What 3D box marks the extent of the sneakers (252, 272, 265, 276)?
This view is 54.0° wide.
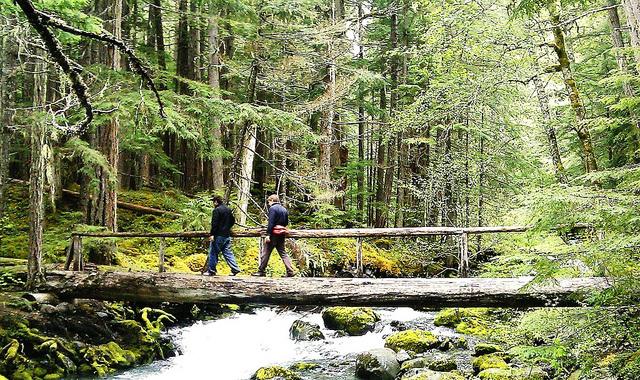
[{"bbox_3d":[-2.119,2.939,22.102,0.499,0.196,0.164,11,-17,-24],"label":"sneakers"}]

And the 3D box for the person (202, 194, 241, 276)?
[{"bbox_3d":[-3.537,1.597,22.670,1.121,2.862,1.209,2,1,-8],"label":"person"}]

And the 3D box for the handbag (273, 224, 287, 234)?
[{"bbox_3d":[-1.361,1.377,22.184,0.528,0.328,0.211,1,1,-36],"label":"handbag"}]

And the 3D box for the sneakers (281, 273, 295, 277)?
[{"bbox_3d":[-1.116,2.969,22.092,0.477,0.186,0.167,1,-6,9],"label":"sneakers"}]
